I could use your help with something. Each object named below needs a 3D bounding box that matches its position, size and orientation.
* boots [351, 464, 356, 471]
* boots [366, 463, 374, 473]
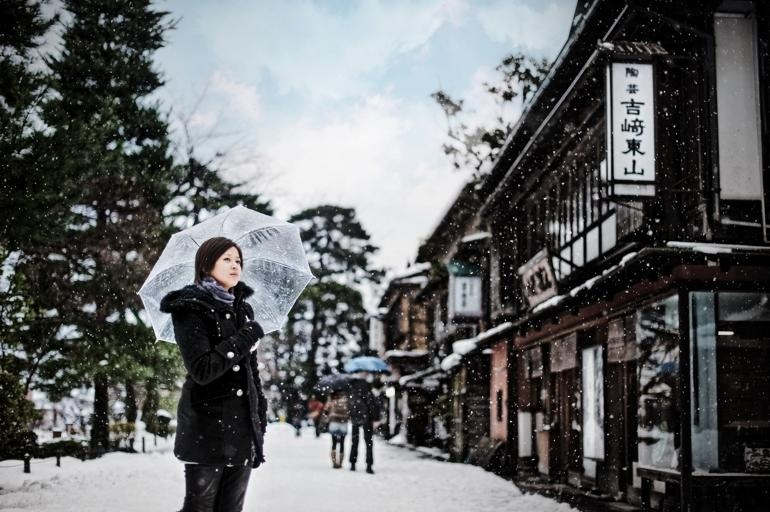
[{"bbox_3d":[-0.746,4.819,21.871,0.136,0.164,0.141,0,-1,-4],"label":"boots"},{"bbox_3d":[-0.355,4.822,21.690,0.192,0.222,0.218,0,-14,0],"label":"boots"}]
